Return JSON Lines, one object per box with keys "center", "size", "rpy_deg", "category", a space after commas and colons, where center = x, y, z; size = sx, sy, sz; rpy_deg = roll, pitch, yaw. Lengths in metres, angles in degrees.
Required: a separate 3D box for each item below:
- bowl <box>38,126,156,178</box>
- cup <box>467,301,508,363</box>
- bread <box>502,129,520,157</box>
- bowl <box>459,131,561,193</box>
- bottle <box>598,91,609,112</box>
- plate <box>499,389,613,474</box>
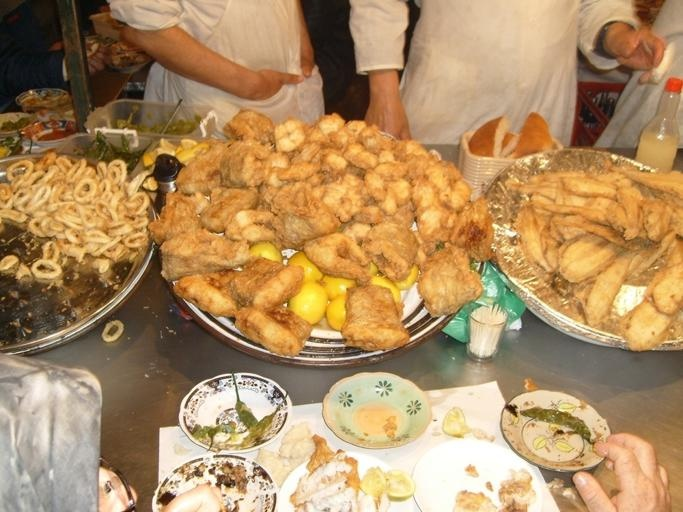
{"center": [-1.179, -0.550, 2.572], "size": [0.373, 0.132, 0.337], "rpy_deg": [-14, 37, -32], "category": "bowl"}
{"center": [0.477, 0.267, 1.727], "size": [0.112, 0.136, 0.117], "rpy_deg": [-1, 14, 0], "category": "cup"}
{"center": [0.807, -0.539, 2.441], "size": [0.044, 0.045, 0.169], "rpy_deg": [15, 76, 55], "category": "bread"}
{"center": [0.769, -0.398, 2.392], "size": [0.395, 0.162, 0.295], "rpy_deg": [-4, 44, 1], "category": "bowl"}
{"center": [2.271, -1.341, 4.438], "size": [0.055, 0.266, 0.075], "rpy_deg": [8, 9, 17], "category": "bottle"}
{"center": [0.610, 0.523, 1.483], "size": [0.289, 0.053, 0.299], "rpy_deg": [5, 28, 27], "category": "plate"}
